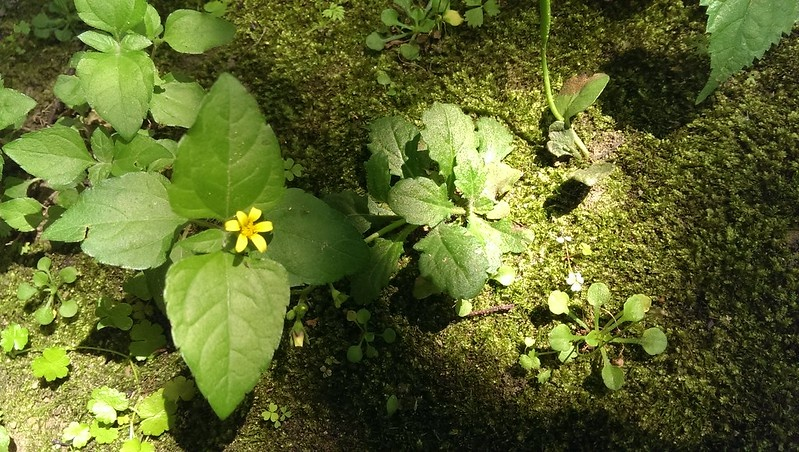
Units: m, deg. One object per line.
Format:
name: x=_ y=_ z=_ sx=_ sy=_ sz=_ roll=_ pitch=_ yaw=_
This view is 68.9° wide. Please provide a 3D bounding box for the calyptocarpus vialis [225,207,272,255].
calyptocarpus vialis: x=-1.043 y=-0.004 z=4.078 sx=0.316 sy=0.114 sz=0.307 roll=5 pitch=38 yaw=-8
